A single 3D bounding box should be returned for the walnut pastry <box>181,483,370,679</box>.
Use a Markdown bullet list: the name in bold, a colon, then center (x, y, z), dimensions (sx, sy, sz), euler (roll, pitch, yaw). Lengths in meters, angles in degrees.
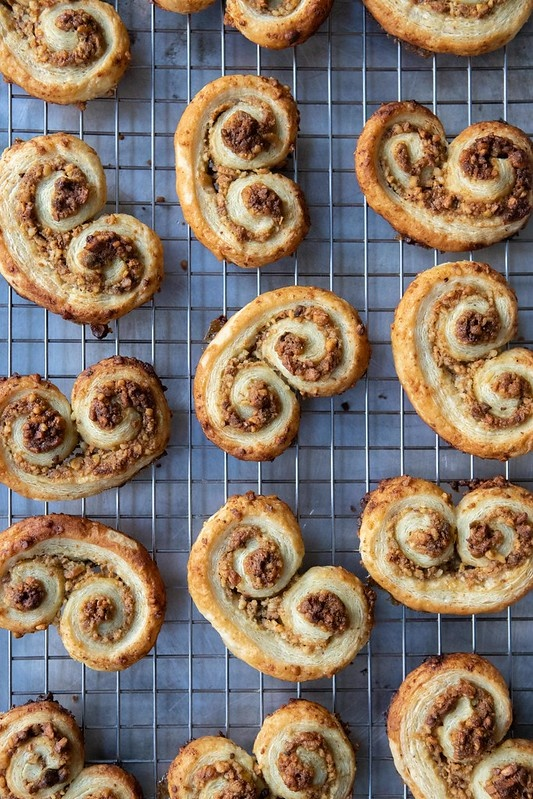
- **walnut pastry**: center (0.033, 0.646, 3.800), dimensions (0.626, 0.473, 0.387), euler (32, -59, -23)
